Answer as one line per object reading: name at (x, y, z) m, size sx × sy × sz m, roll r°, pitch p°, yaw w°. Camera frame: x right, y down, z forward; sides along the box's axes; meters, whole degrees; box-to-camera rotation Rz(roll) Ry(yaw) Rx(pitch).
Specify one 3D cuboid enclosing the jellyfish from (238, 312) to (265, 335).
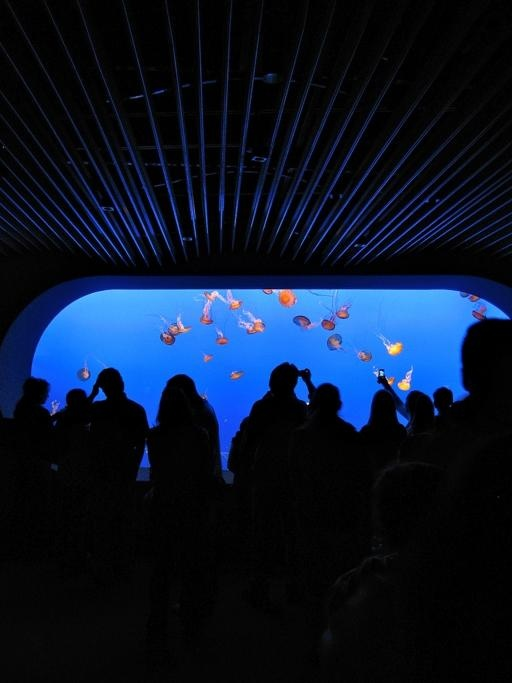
jellyfish at (-0.138, -0.449, 11.850) m, size 0.416 × 0.350 × 0.702 m, roll -9°, pitch -24°, yaw -11°

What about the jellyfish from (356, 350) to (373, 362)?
jellyfish at (2.429, 0.329, 10.963) m, size 0.120 × 0.352 × 0.389 m, roll 3°, pitch -7°, yaw 44°

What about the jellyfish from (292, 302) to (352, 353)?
jellyfish at (1.441, -0.286, 9.513) m, size 1.068 × 1.134 × 0.331 m, roll 37°, pitch 30°, yaw 19°

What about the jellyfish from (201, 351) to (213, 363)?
jellyfish at (-1.147, 0.375, 11.918) m, size 0.210 × 0.124 × 0.222 m, roll 11°, pitch -14°, yaw -18°

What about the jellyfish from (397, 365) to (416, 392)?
jellyfish at (2.910, 0.711, 9.641) m, size 0.215 × 0.562 × 0.302 m, roll 14°, pitch -35°, yaw 21°

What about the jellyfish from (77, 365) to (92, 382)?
jellyfish at (-2.596, 0.495, 7.566) m, size 0.039 × 0.196 × 0.177 m, roll 2°, pitch 8°, yaw 28°
